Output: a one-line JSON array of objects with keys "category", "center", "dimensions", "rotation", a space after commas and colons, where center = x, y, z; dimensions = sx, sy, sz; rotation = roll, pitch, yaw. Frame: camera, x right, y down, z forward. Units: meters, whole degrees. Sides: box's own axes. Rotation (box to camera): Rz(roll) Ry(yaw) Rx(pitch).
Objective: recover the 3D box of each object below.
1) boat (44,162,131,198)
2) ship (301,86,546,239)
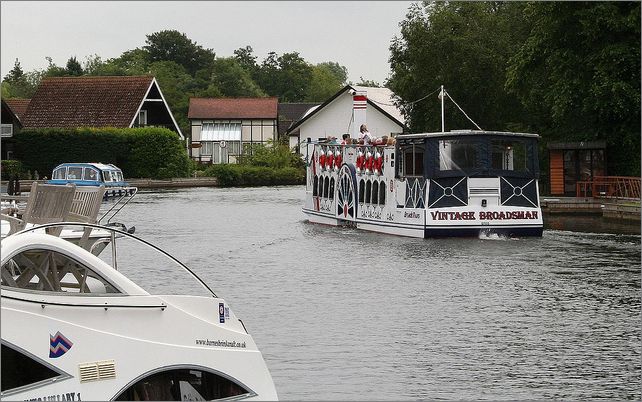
[{"category": "boat", "center": [-12.663, -1.304, 62.732], "dimensions": [3.803, 1.897, 6.006], "rotation": [1, 0, 3]}, {"category": "ship", "center": [3.477, -1.577, 47.886], "dimensions": [5.041, 6.343, 15.212], "rotation": [2, 1, -20]}]
